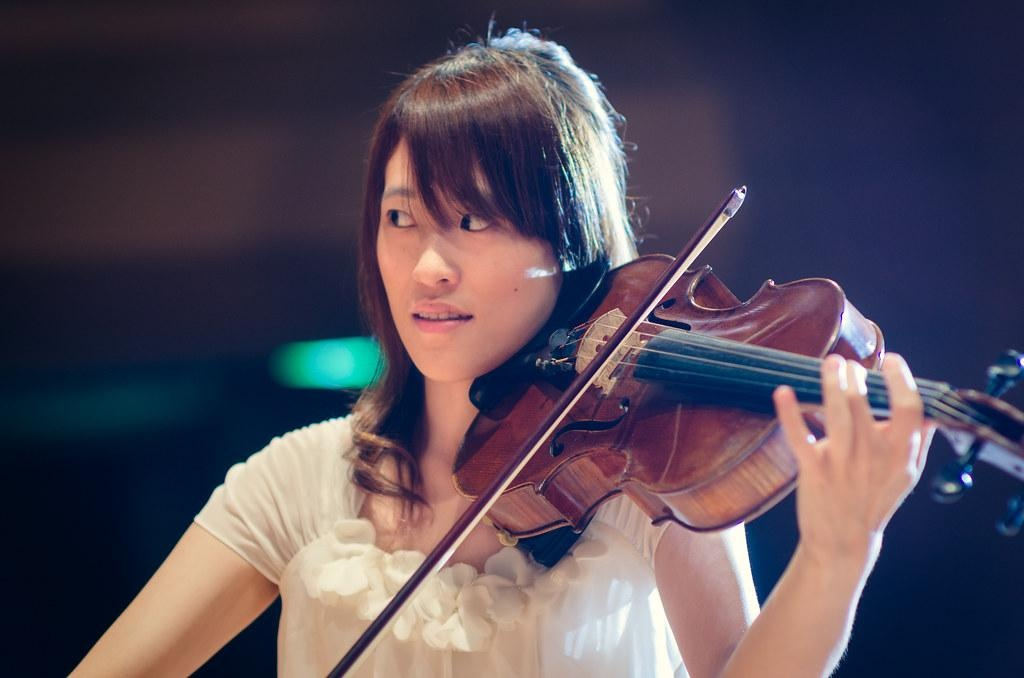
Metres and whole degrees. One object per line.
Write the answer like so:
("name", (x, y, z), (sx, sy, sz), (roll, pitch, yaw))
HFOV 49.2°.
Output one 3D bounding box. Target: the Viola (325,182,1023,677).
("Viola", (0.193, 0.356, 2.853), (1.989, 0.817, 0.303), (-33, -32, 33))
